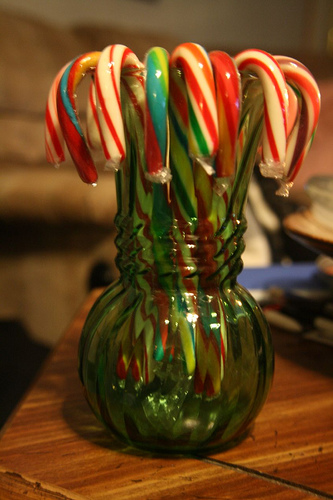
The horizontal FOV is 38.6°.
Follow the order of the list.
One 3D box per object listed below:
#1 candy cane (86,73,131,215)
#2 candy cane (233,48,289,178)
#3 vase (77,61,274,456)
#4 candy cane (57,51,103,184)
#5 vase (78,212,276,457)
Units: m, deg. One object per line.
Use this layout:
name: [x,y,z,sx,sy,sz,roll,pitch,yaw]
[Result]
candy cane: [-0.036,-0.060,0.327,0.048,0.105,0.039,-1,32,-7]
candy cane: [0.056,-0.070,0.252,0.034,0.061,0.037,4,17,24]
vase: [0.022,0.013,0.328,0.113,0.231,0.113,6,2,35]
candy cane: [-0.050,-0.070,0.261,0.024,0.069,0.031,-1,19,-18]
vase: [0.009,0.046,0.332,0.120,0.160,0.115,-2,7,-21]
